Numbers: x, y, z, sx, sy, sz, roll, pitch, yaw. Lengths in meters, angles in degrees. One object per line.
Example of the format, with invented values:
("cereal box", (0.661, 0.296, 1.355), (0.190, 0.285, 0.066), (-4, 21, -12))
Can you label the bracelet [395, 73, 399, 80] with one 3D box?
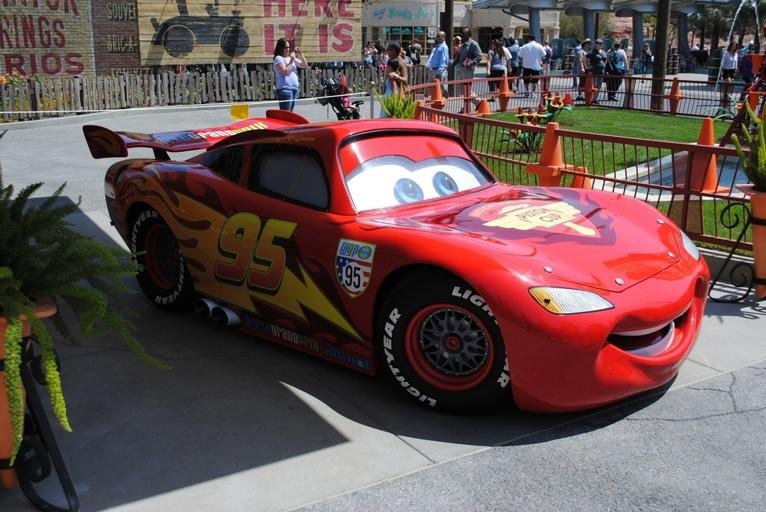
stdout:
("bracelet", (0.333, -4.295, 12.189), (0.114, 0.165, 0.042), (7, -22, -32))
